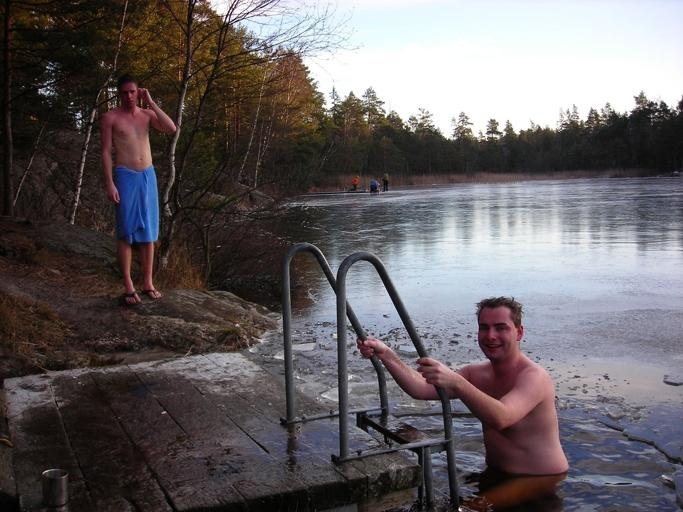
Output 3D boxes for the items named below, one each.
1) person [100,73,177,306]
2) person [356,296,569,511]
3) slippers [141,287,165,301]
[{"bbox_3d":[-2.474,-0.746,6.990,0.560,2.716,0.872,17,10,42],"label":"person"},{"bbox_3d":[0.990,0.975,4.174,1.561,1.391,0.808,3,9,-34],"label":"person"},{"bbox_3d":[-2.403,0.489,7.511,0.260,0.084,0.148,11,10,33],"label":"slippers"}]
